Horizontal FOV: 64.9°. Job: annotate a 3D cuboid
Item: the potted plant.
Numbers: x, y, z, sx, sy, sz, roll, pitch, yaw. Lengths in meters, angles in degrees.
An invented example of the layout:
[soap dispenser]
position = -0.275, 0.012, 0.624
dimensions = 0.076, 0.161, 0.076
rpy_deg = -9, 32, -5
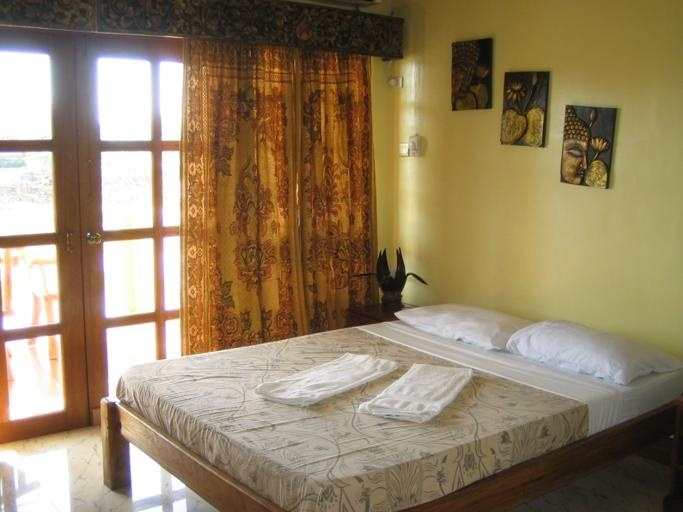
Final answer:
[potted plant]
position = 0.424, 0.137, 4.556
dimensions = 0.506, 0.430, 0.432
rpy_deg = -7, 13, -32
